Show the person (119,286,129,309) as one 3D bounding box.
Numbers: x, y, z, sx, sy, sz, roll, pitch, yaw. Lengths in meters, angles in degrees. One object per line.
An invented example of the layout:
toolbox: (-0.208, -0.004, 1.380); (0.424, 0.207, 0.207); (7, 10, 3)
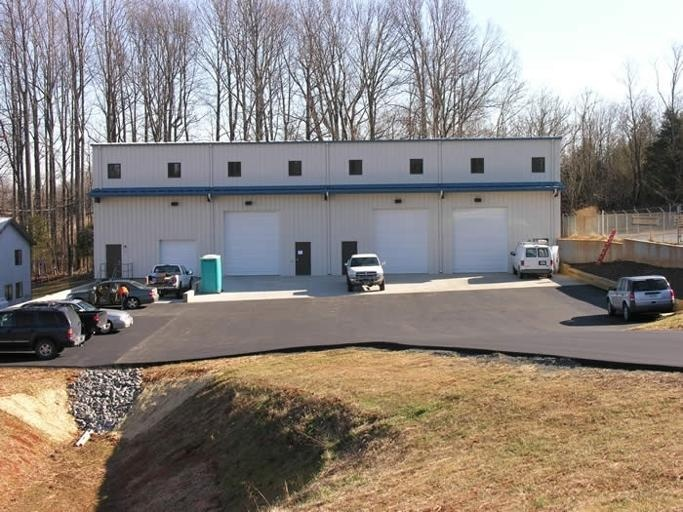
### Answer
person: (-11.032, 2.114, 34.997); (0.240, 0.968, 0.882); (-1, 1, -9)

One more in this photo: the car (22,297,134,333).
car: (-11.013, 2.852, 28.617); (3.797, 1.405, 1.913); (2, 1, -3)

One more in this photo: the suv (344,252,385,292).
suv: (1.324, 1.043, 39.688); (2.031, 2.142, 2.228); (-7, 11, -3)

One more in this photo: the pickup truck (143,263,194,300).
pickup truck: (-9.940, 1.379, 40.737); (1.478, 1.344, 2.798); (1, 3, 2)

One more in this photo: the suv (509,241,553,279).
suv: (11.890, 0.140, 43.636); (1.600, 1.481, 2.823); (-1, 6, 3)

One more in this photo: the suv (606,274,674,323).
suv: (12.193, 1.672, 28.677); (1.440, 1.344, 2.572); (-2, 7, -2)

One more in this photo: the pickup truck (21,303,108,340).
pickup truck: (-11.171, 2.695, 27.824); (2.963, 1.262, 1.491); (2, 2, 2)
